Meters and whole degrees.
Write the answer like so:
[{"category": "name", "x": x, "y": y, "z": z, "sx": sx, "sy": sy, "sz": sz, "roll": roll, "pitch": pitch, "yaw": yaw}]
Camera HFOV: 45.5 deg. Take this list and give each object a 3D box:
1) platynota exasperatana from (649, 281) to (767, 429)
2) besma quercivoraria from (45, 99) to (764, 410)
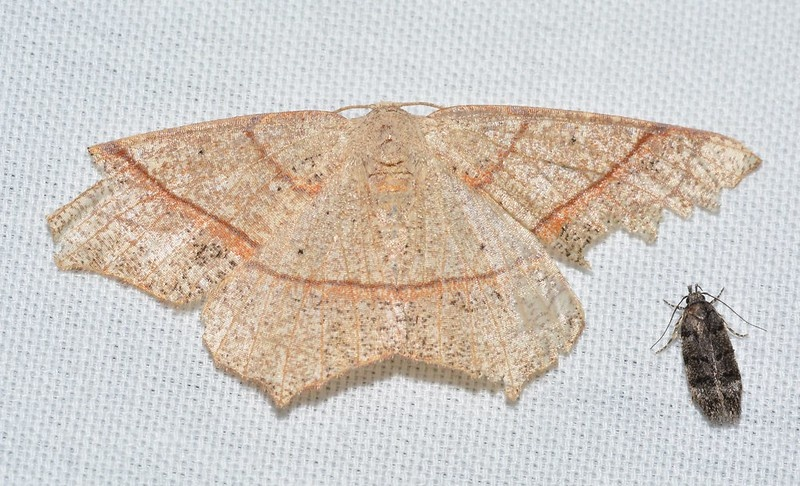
[{"category": "platynota exasperatana", "x": 1.514, "y": 0.540, "z": 4.700, "sx": 0.367, "sy": 0.714, "sz": 0.463, "roll": 1, "pitch": 12, "yaw": 8}, {"category": "besma quercivoraria", "x": -0.090, "y": 0.080, "z": 4.553, "sx": 2.931, "sy": 1.442, "sz": 0.327, "roll": -3, "pitch": 1, "yaw": 0}]
